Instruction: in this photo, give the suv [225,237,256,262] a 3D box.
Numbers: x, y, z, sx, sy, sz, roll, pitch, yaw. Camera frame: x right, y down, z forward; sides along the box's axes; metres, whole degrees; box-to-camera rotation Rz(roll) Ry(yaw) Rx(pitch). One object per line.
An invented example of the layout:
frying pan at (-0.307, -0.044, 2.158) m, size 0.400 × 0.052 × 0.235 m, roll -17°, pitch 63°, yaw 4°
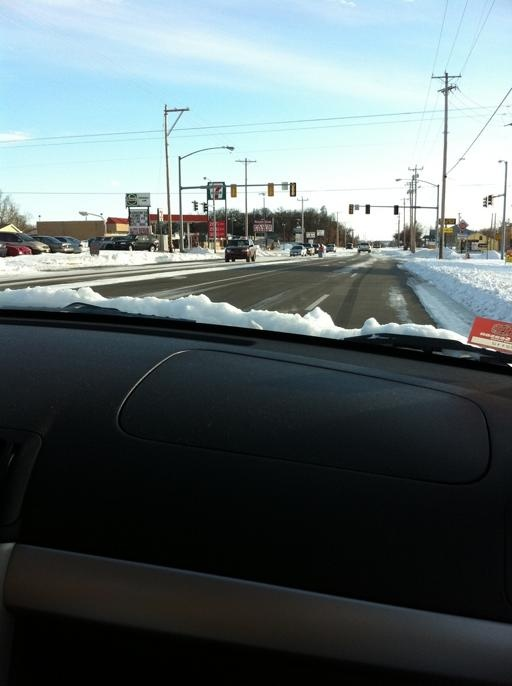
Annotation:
suv at (-1.220, -7.994, 44.955) m, size 1.566 × 1.427 × 3.554 m, roll 0°, pitch 8°, yaw 6°
